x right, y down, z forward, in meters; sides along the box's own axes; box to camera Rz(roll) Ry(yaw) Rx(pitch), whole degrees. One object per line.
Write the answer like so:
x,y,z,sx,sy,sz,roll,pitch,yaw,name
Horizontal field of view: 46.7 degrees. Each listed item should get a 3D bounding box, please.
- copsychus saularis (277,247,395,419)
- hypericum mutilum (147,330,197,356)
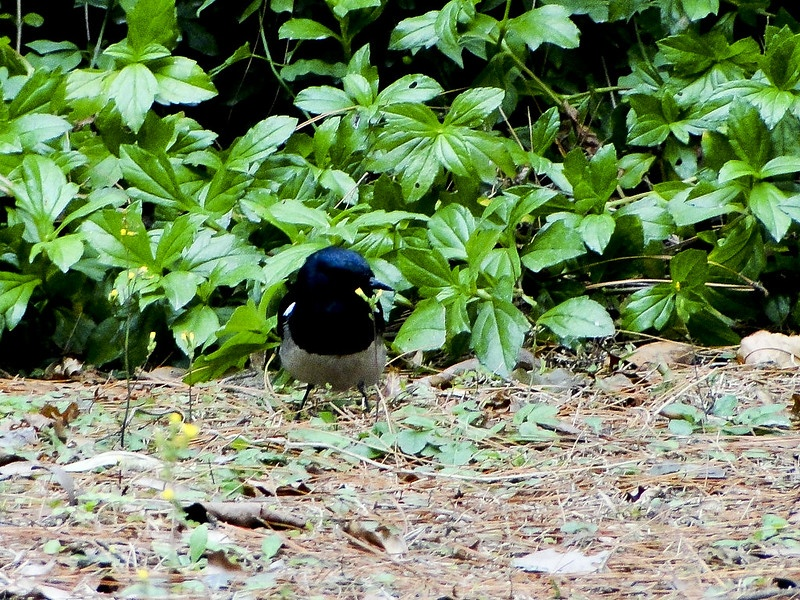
-0.261,0.127,3.671,0.460,0.643,0.418,-2,13,-2,copsychus saularis
-0.857,0.169,3.540,0.089,0.180,0.219,-7,16,-11,hypericum mutilum
